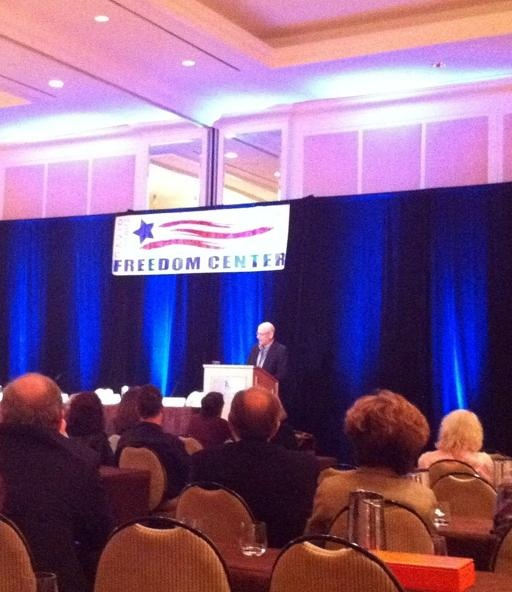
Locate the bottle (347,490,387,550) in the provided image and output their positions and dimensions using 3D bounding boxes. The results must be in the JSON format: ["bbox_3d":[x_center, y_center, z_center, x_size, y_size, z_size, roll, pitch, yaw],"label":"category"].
[{"bbox_3d":[0.251,0.515,1.359,0.074,0.123,0.043,2,-3,4],"label":"bottle"}]

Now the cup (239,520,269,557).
[{"bbox_3d":[-0.008,0.736,1.779,0.081,0.086,0.097,3,-3,-1],"label":"cup"}]

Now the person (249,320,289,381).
[{"bbox_3d":[0.230,0.754,8.035,0.526,0.809,0.648,5,-4,-44],"label":"person"}]
